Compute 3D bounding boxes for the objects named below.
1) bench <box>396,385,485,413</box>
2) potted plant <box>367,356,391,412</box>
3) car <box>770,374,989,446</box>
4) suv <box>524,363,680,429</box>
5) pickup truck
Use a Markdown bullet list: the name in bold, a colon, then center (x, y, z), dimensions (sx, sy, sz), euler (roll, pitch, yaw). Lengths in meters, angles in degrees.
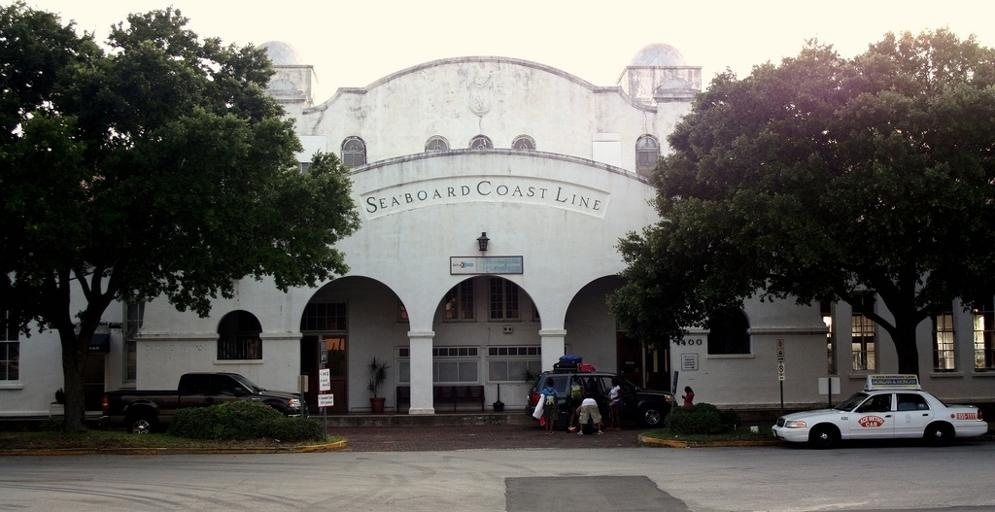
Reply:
- **bench**: center (-2.719, 6.642, 61.974), dimensions (4.176, 1.297, 0.899), euler (0, -12, 2)
- **potted plant**: center (-5.641, 6.027, 62.295), dimensions (0.948, 2.589, 0.819), euler (1, -13, -5)
- **car**: center (15.249, 6.262, 52.829), dimensions (8.896, 2.699, 2.969), euler (1, -8, 0)
- **suv**: center (4.473, 6.158, 57.238), dimensions (5.959, 2.054, 2.560), euler (-1, -3, -3)
- **pickup truck**: center (-12.975, 6.705, 55.242), dimensions (11.825, 3.403, 4.639), euler (0, -3, -12)
